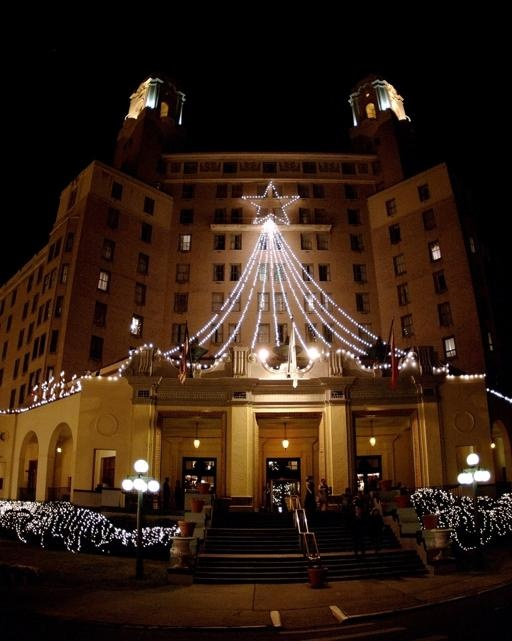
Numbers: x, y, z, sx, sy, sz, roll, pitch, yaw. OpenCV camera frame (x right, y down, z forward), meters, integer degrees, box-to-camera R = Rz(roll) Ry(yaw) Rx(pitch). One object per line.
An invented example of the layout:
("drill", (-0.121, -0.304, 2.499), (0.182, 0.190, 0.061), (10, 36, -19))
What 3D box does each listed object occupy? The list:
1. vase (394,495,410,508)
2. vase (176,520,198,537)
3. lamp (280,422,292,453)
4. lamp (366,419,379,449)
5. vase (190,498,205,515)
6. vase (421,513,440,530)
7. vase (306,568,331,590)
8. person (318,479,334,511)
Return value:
("vase", (5.582, 6.960, 19.374), (0.575, 0.401, 0.564), (6, -11, -40))
("vase", (-2.064, 6.253, 15.041), (0.542, 0.404, 0.354), (14, -23, -37))
("lamp", (1.705, 6.856, 29.499), (0.490, 1.495, 1.028), (-1, -19, 3))
("lamp", (6.822, 6.685, 29.447), (0.553, 1.409, 1.600), (-4, -19, 12))
("vase", (-2.193, 6.742, 18.400), (0.598, 0.434, 0.615), (-9, -14, 29))
("vase", (5.763, 6.646, 16.521), (0.509, 0.373, 0.507), (4, -25, 2))
("vase", (1.651, 6.855, 13.401), (0.507, 0.505, 0.375), (-1, -19, 1))
("person", (3.130, 7.909, 22.742), (0.564, 1.286, 1.634), (-3, -19, 7))
